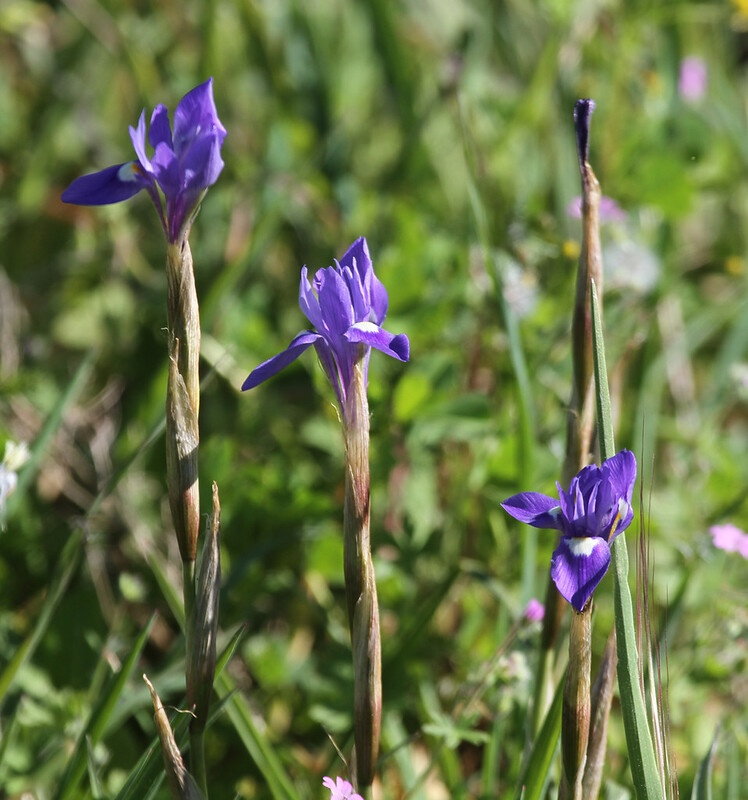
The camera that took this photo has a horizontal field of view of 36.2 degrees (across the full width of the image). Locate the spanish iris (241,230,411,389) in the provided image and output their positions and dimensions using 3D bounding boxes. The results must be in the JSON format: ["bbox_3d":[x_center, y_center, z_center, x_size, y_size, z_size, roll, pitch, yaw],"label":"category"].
[{"bbox_3d":[-0.061,-0.100,1.418,0.169,0.139,0.234,6,-13,14],"label":"spanish iris"}]

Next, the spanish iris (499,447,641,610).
[{"bbox_3d":[0.225,0.141,1.322,0.152,0.181,0.138,3,10,-3],"label":"spanish iris"}]

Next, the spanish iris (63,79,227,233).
[{"bbox_3d":[-0.291,-0.304,1.417,0.180,0.199,0.201,-4,13,-34],"label":"spanish iris"}]
